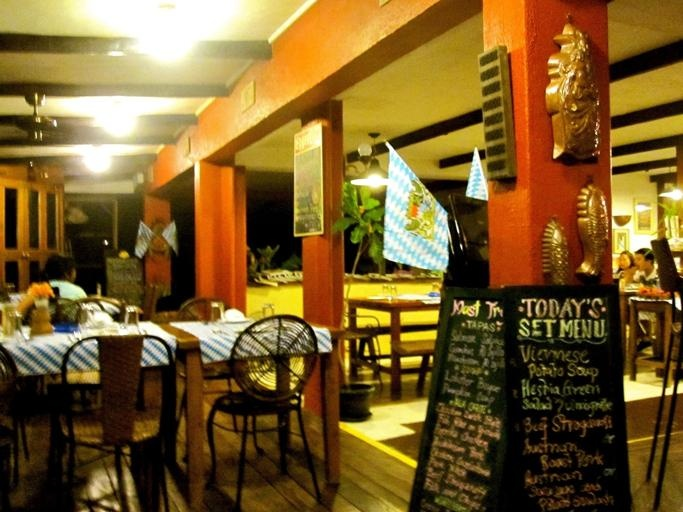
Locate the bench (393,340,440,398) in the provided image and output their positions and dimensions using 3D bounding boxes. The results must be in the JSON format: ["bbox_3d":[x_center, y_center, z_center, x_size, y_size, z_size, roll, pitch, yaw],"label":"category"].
[{"bbox_3d":[0.801,1.272,6.483,0.399,0.496,0.735,10,-10,8],"label":"bench"}]

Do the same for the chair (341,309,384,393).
[{"bbox_3d":[0.255,1.070,7.137,0.479,0.764,0.491,-4,1,21],"label":"chair"}]

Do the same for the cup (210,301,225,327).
[{"bbox_3d":[-0.966,0.461,4.473,0.135,0.246,0.144,1,1,0],"label":"cup"}]

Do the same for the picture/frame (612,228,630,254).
[{"bbox_3d":[6.057,-0.355,12.367,0.542,0.779,0.064,-2,3,-16],"label":"picture/frame"}]

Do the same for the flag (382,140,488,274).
[{"bbox_3d":[0.429,-0.261,3.278,0.367,0.695,0.231,0,-3,9],"label":"flag"}]

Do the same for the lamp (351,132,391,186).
[{"bbox_3d":[0.459,-1.372,8.037,0.668,0.734,0.668,-1,2,-6],"label":"lamp"}]

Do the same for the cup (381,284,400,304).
[{"bbox_3d":[0.630,0.471,7.151,0.181,0.266,0.199,0,-4,0],"label":"cup"}]

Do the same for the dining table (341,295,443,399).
[{"bbox_3d":[0.621,0.906,6.711,0.674,0.847,1.334,0,2,-12],"label":"dining table"}]

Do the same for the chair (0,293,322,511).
[{"bbox_3d":[-1.414,0.652,3.864,1.670,0.857,1.137,-2,4,-24],"label":"chair"}]

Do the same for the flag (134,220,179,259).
[{"bbox_3d":[-3.795,-0.330,11.709,0.799,0.683,0.035,-8,11,-41],"label":"flag"}]
